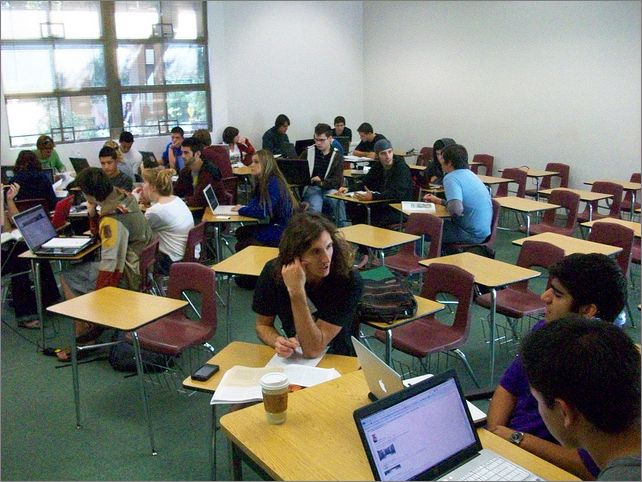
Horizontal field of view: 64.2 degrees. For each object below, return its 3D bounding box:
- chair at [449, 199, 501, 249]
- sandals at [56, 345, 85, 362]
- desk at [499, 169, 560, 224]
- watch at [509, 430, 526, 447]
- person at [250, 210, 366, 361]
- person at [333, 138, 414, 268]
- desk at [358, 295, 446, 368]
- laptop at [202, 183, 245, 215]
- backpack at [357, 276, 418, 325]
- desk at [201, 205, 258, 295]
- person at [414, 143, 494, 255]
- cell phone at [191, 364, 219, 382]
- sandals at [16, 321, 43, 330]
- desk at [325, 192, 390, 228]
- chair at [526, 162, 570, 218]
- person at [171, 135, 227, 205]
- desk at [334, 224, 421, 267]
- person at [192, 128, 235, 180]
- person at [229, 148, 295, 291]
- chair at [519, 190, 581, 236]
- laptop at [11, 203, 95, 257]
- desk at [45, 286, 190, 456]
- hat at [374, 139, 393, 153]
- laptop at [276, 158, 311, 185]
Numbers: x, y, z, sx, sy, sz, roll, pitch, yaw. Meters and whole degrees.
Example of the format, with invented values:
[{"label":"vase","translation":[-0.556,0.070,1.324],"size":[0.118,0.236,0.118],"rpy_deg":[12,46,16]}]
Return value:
[{"label":"chair","translation":[1.600,-0.232,5.393],"size":[0.524,0.600,0.491],"rpy_deg":[-5,9,-21]},{"label":"sandals","translation":[-2.016,0.907,4.110],"size":[0.114,0.050,0.206],"rpy_deg":[14,12,34]},{"label":"desk","translation":[2.870,-0.609,7.022],"size":[0.596,0.596,0.755],"rpy_deg":[-17,24,-39]},{"label":"watch","translation":[0.797,0.803,2.084],"size":[0.037,0.056,0.057],"rpy_deg":[1,-6,-6]},{"label":"person","translation":[-0.082,0.316,2.776],"size":[0.583,0.925,0.533],"rpy_deg":[4,13,16]},{"label":"person","translation":[0.741,-0.496,6.274],"size":[0.707,1.330,0.844],"rpy_deg":[14,26,41]},{"label":"desk","translation":[0.466,0.450,3.248],"size":[0.449,0.449,0.449],"rpy_deg":[-15,25,-36]},{"label":"laptop","translation":[-1.066,-0.413,5.454],"size":[0.349,0.231,0.365],"rpy_deg":[0,18,-5]},{"label":"backpack","translation":[0.394,0.363,3.093],"size":[0.284,0.108,0.273],"rpy_deg":[-1,30,2]},{"label":"desk","translation":[-0.864,0.080,4.823],"size":[0.601,0.705,0.723],"rpy_deg":[2,20,5]},{"label":"person","translation":[1.428,-0.318,5.473],"size":[0.629,1.398,0.774],"rpy_deg":[-10,22,-31]},{"label":"cell phone","translation":[-0.559,0.637,2.487],"size":[0.086,0.035,0.154],"rpy_deg":[5,13,21]},{"label":"sandals","translation":[-2.591,0.754,4.557],"size":[0.234,0.065,0.095],"rpy_deg":[4,11,22]},{"label":"desk","translation":[0.494,-0.480,6.155],"size":[0.463,0.446,0.585],"rpy_deg":[-10,15,-44]},{"label":"chair","translation":[3.508,-0.844,7.854],"size":[0.716,1.053,0.609],"rpy_deg":[-10,14,-40]},{"label":"person","translation":[-1.491,-0.789,5.918],"size":[0.606,0.735,0.558],"rpy_deg":[1,12,20]},{"label":"desk","translation":[0.499,-0.035,4.577],"size":[0.400,0.414,0.526],"rpy_deg":[-17,26,-34]},{"label":"person","translation":[-1.531,-1.120,7.024],"size":[0.531,0.751,0.539],"rpy_deg":[-17,7,3]},{"label":"person","translation":[-0.586,-0.206,5.333],"size":[0.812,1.421,0.609],"rpy_deg":[2,8,-2]},{"label":"chair","translation":[2.713,-0.333,6.067],"size":[0.537,0.796,0.482],"rpy_deg":[-15,21,-39]},{"label":"laptop","translation":[-2.239,-0.039,4.316],"size":[0.491,0.319,0.511],"rpy_deg":[4,19,6]},{"label":"desk","translation":[-1.263,0.796,3.312],"size":[0.781,0.828,0.484],"rpy_deg":[5,13,22]},{"label":"hat","translation":[0.738,-1.126,6.100],"size":[0.177,0.165,0.268],"rpy_deg":[1,12,4]},{"label":"laptop","translation":[-0.350,-0.902,6.569],"size":[0.439,0.310,0.328],"rpy_deg":[14,28,32]}]
